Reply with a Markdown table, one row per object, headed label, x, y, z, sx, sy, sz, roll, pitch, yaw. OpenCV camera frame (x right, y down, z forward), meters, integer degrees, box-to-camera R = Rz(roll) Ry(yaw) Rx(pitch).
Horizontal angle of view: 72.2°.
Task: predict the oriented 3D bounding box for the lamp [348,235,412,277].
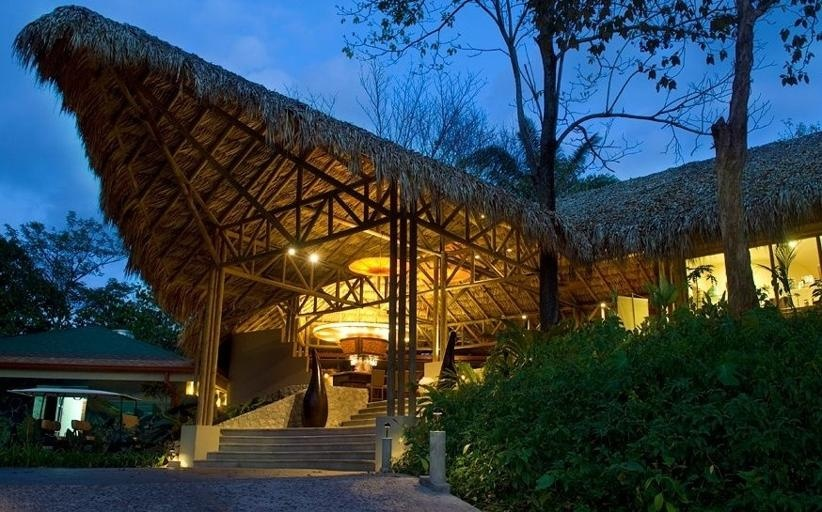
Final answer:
| label | x | y | z | sx | sy | sz | roll | pitch | yaw |
| --- | --- | --- | --- | --- | --- | --- | --- | --- | --- |
| lamp | -1.072 | 0.255 | 16.067 | 1.523 | 0.608 | 0.721 | -16 | -21 | 39 |

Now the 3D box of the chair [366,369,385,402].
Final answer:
| label | x | y | z | sx | sy | sz | roll | pitch | yaw |
| --- | --- | --- | --- | --- | --- | --- | --- | --- | --- |
| chair | -1.111 | 4.269 | 18.413 | 0.607 | 1.018 | 0.684 | 11 | -22 | -28 |
